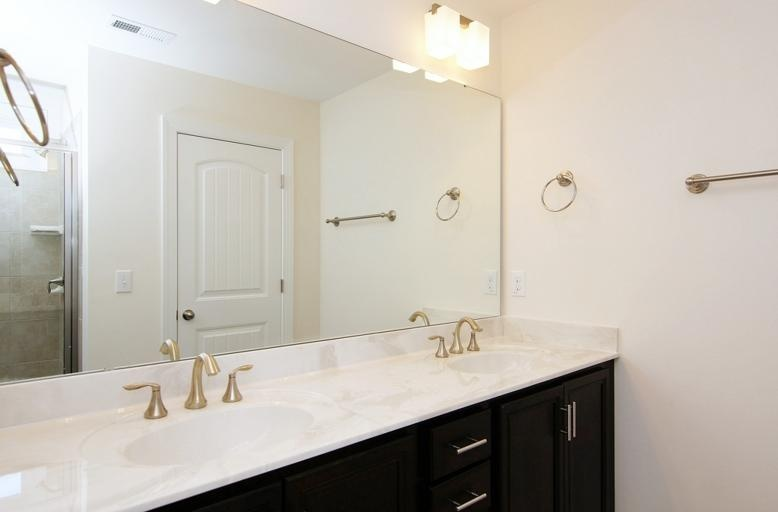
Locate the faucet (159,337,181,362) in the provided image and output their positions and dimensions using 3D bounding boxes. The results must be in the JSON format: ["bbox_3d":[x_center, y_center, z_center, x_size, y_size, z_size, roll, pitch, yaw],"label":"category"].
[{"bbox_3d":[-0.877,0.377,2.008,0.114,0.079,0.038,8,3,37],"label":"faucet"}]

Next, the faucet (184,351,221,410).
[{"bbox_3d":[-0.735,0.478,1.940,0.116,0.223,0.218,-2,0,-27],"label":"faucet"}]

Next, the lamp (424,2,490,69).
[{"bbox_3d":[0.341,-1.155,2.660,0.145,0.275,0.438,5,4,42],"label":"lamp"}]
